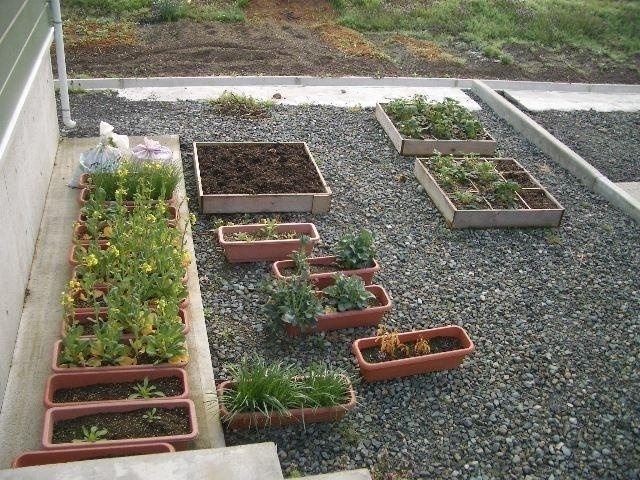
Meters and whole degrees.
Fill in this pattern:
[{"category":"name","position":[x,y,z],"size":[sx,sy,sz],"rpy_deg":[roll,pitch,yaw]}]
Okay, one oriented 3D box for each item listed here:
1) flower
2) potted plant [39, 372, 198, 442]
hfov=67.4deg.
[{"category":"flower","position":[-1.561,0.247,3.775],"size":[0.710,0.601,1.800],"rpy_deg":[-2,49,-13]},{"category":"potted plant","position":[-1.268,1.075,3.071],"size":[0.741,0.243,0.506],"rpy_deg":[0,43,-18]}]
